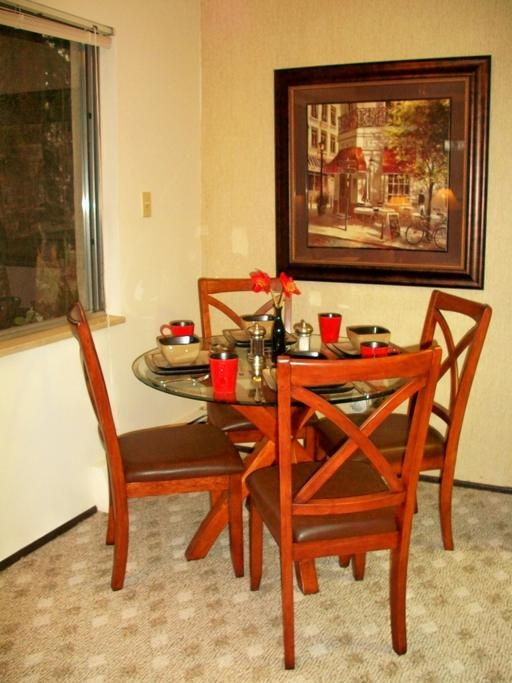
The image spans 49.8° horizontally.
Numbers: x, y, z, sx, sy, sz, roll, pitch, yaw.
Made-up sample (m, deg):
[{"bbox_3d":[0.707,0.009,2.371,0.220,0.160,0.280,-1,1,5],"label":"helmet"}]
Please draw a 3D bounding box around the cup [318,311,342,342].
[{"bbox_3d":[0.265,-0.052,2.064,0.096,0.110,0.098,-1,4,0],"label":"cup"}]

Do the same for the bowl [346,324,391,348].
[{"bbox_3d":[0.377,-0.029,1.877,0.088,0.054,0.115,0,6,-4],"label":"bowl"}]

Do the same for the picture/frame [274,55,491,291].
[{"bbox_3d":[0.623,-0.810,2.546,1.130,1.183,0.086,5,16,27],"label":"picture/frame"}]

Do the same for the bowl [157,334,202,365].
[{"bbox_3d":[-0.234,0.023,1.712,0.089,0.068,0.117,-1,1,-6],"label":"bowl"}]

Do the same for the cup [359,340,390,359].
[{"bbox_3d":[0.365,0.021,1.662,0.056,0.044,0.062,0,5,5],"label":"cup"}]

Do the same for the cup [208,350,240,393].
[{"bbox_3d":[-0.070,0.084,1.533,0.091,0.112,0.098,-1,4,0],"label":"cup"}]

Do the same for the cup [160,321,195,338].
[{"bbox_3d":[-0.290,-0.044,2.059,0.127,0.091,0.084,-1,11,-2],"label":"cup"}]

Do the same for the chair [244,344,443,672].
[{"bbox_3d":[0.203,0.388,1.463,0.422,0.810,0.491,0,11,3],"label":"chair"}]
